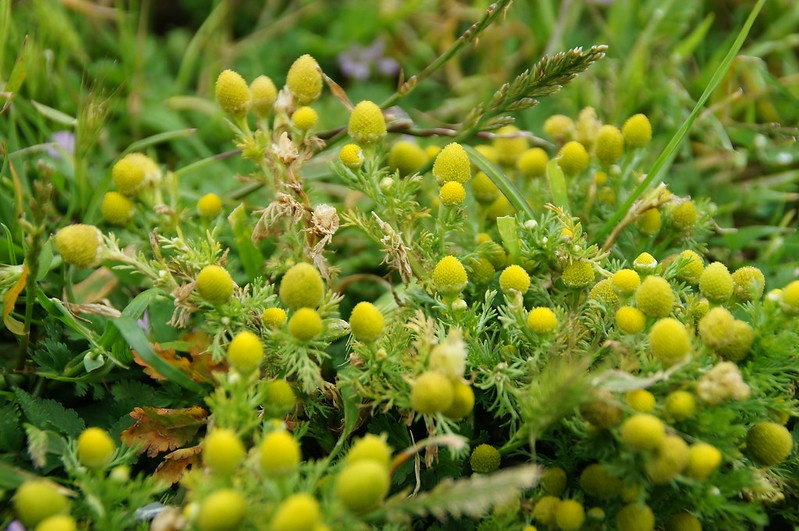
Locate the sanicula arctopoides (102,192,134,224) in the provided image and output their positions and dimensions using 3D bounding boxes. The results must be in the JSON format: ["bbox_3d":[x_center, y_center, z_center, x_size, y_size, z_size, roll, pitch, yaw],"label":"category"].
[{"bbox_3d":[-0.482,-0.096,1.146,0.047,0.048,0.045,-2,53,-10],"label":"sanicula arctopoides"}]

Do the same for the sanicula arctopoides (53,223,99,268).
[{"bbox_3d":[-0.506,-0.032,1.055,0.068,0.057,0.068,8,71,-11],"label":"sanicula arctopoides"}]

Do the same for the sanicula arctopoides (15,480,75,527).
[{"bbox_3d":[-0.472,0.319,0.887,0.056,0.075,0.046,17,70,18],"label":"sanicula arctopoides"}]

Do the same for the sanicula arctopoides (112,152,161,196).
[{"bbox_3d":[-0.448,-0.155,1.135,0.074,0.072,0.063,-3,17,-17],"label":"sanicula arctopoides"}]
